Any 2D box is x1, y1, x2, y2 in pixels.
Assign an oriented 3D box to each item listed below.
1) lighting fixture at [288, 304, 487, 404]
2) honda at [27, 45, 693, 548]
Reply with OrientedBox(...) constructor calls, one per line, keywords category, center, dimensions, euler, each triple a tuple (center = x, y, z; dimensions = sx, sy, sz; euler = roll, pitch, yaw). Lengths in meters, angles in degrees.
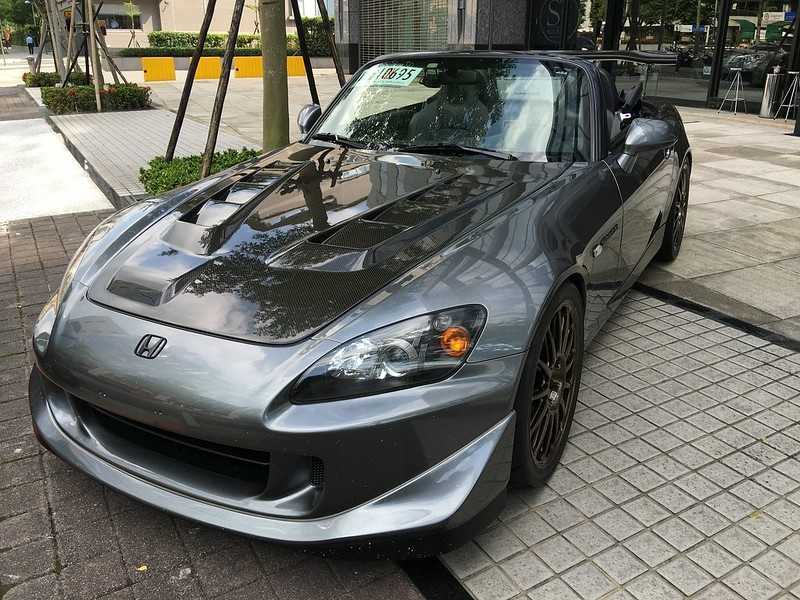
OrientedBox(category="lighting fixture", center=(-0.154, 0.274, 1.851), dimensions=(0.892, 0.268, 0.266), euler=(-13, -4, 32))
OrientedBox(category="honda", center=(0.510, -0.307, 3.050), dimensions=(2.116, 1.222, 4.252), euler=(21, 38, 29))
